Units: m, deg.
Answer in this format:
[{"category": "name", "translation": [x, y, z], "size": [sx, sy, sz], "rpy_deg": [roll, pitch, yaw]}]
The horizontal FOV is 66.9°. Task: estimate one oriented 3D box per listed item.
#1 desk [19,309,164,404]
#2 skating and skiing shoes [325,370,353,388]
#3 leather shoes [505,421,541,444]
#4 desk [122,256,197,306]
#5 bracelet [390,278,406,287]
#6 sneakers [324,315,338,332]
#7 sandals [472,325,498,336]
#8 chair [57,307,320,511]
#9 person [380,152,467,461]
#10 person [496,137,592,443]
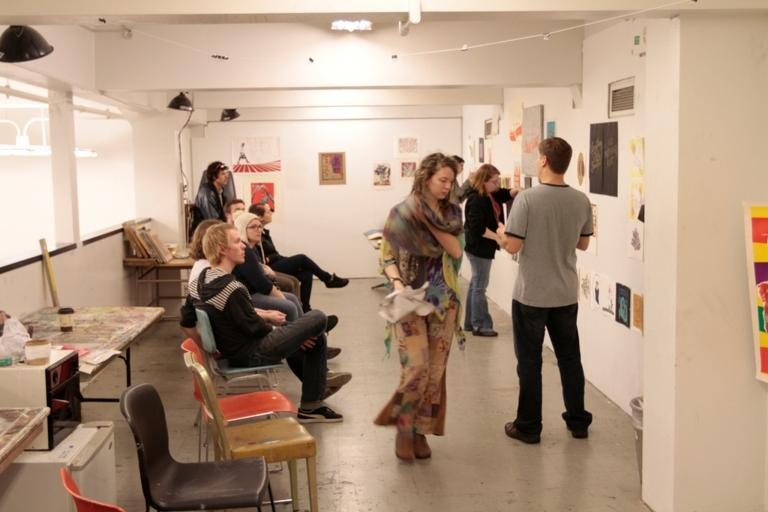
[{"category": "desk", "translation": [-2.392, 0.593, 4.628], "size": [0.862, 0.322, 1.398], "rpy_deg": [-1, 12, -4]}, {"category": "skating and skiing shoes", "translation": [-0.366, 1.125, 5.338], "size": [0.342, 0.112, 0.132], "rpy_deg": [1, 13, -19]}, {"category": "leather shoes", "translation": [1.111, 1.417, 4.670], "size": [0.120, 0.101, 0.260], "rpy_deg": [-6, 15, -31]}, {"category": "desk", "translation": [-3.117, 0.362, 8.075], "size": [0.802, 0.725, 0.779], "rpy_deg": [0, 7, -3]}, {"category": "bracelet", "translation": [0.108, 0.179, 4.164], "size": [0.058, 0.035, 0.074], "rpy_deg": [1, 46, -32]}, {"category": "sneakers", "translation": [-0.600, 0.787, 6.734], "size": [0.215, 0.194, 0.234], "rpy_deg": [0, -8, 2]}, {"category": "sandals", "translation": [1.279, 0.968, 7.453], "size": [0.337, 0.135, 0.111], "rpy_deg": [0, -2, 3]}, {"category": "chair", "translation": [-1.089, 1.063, 4.027], "size": [1.218, 1.648, 0.988], "rpy_deg": [-2, 5, -3]}, {"category": "person", "translation": [0.263, 0.404, 4.224], "size": [0.637, 2.272, 0.405], "rpy_deg": [0, 10, 6]}, {"category": "person", "translation": [1.274, 0.286, 4.537], "size": [0.747, 2.377, 0.283], "rpy_deg": [-2, 10, -10]}]
